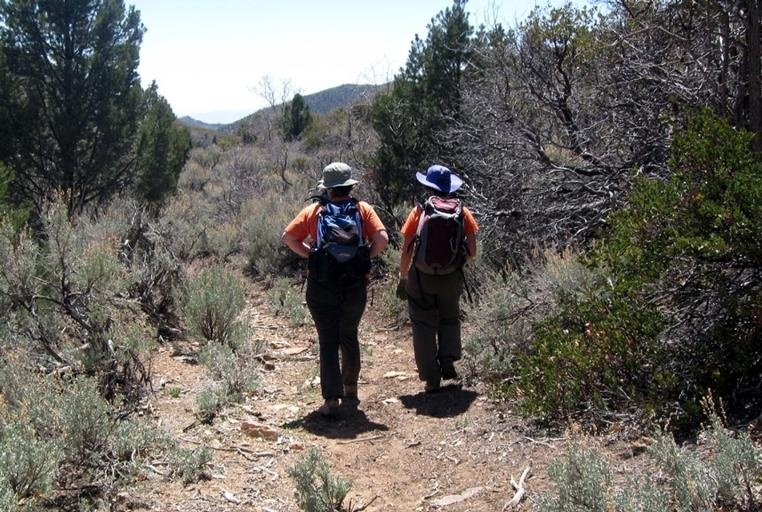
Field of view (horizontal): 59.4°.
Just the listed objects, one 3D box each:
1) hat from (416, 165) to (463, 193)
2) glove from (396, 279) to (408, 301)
[{"bbox_3d":[0.676,-0.859,8.170,0.390,0.178,0.397,-16,41,-41],"label":"hat"},{"bbox_3d":[0.266,0.434,8.369,0.058,0.236,0.143,13,19,41],"label":"glove"}]
